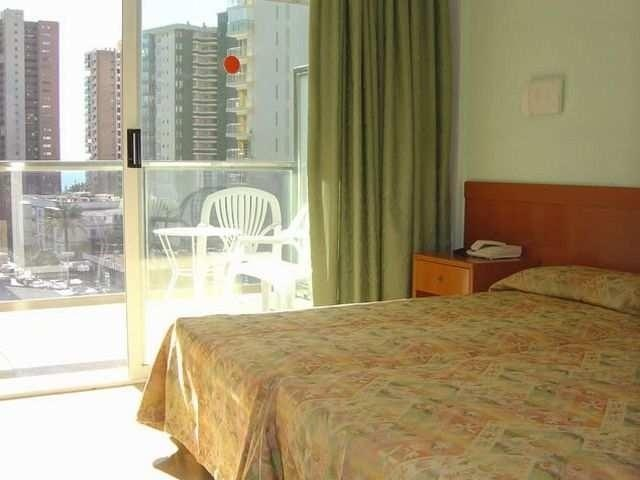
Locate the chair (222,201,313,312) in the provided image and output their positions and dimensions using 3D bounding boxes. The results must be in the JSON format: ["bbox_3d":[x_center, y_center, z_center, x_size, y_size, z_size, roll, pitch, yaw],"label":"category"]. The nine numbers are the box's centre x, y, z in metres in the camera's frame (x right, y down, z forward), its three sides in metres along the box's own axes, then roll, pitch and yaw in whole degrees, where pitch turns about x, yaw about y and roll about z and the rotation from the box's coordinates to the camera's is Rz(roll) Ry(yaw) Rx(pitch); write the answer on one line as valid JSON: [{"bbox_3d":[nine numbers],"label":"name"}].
[{"bbox_3d":[-0.414,0.166,3.892,0.416,0.547,0.425,15,32,-3],"label":"chair"}]

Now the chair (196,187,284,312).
[{"bbox_3d":[-0.485,-0.042,3.696,0.367,0.507,0.358,-6,5,-25],"label":"chair"}]

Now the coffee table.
[{"bbox_3d":[-0.878,0.161,3.865,0.478,0.370,0.470,0,1,-12],"label":"coffee table"}]
